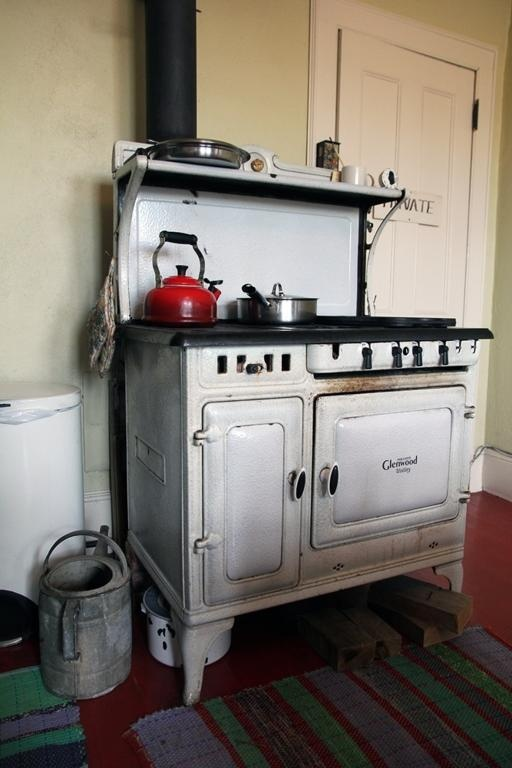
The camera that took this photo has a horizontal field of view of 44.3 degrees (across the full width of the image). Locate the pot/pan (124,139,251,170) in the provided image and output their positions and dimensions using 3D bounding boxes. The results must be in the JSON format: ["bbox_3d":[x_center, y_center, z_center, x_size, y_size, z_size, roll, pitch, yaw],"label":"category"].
[{"bbox_3d":[-0.214,-0.653,1.896,0.333,0.099,0.292,-2,17,-30],"label":"pot/pan"}]

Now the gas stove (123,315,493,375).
[{"bbox_3d":[0.171,-0.120,1.862,1.028,0.153,0.473,-4,9,-30],"label":"gas stove"}]

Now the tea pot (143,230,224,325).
[{"bbox_3d":[-0.180,-0.300,1.802,0.277,0.255,0.249,-3,8,-30],"label":"tea pot"}]

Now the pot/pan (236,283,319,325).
[{"bbox_3d":[0.051,-0.218,1.799,0.116,0.080,0.197,5,7,33],"label":"pot/pan"}]
